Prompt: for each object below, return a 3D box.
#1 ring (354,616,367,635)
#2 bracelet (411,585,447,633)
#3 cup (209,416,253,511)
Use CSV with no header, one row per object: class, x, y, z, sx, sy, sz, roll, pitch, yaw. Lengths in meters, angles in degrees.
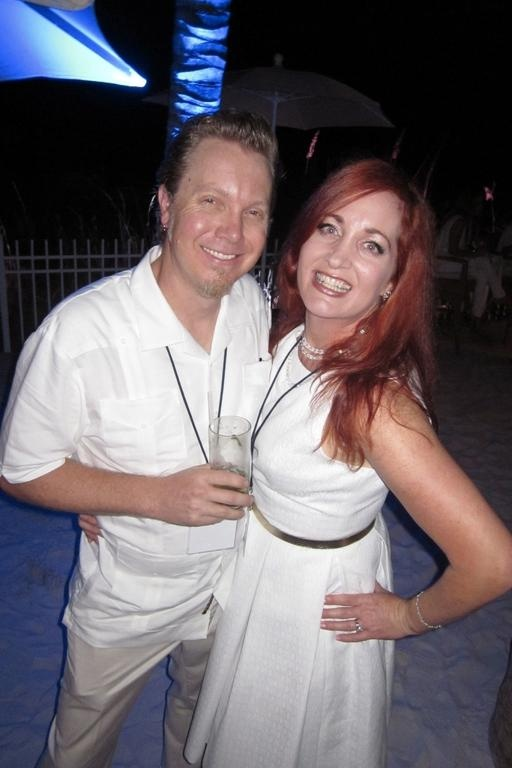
ring,0.353,0.814,2.018,0.017,0.033,0.042,35,35,-26
bracelet,0.583,0.743,2.038,0.040,0.156,0.152,-22,-6,-19
cup,-0.085,0.221,1.970,0.140,0.210,0.192,2,23,-5
